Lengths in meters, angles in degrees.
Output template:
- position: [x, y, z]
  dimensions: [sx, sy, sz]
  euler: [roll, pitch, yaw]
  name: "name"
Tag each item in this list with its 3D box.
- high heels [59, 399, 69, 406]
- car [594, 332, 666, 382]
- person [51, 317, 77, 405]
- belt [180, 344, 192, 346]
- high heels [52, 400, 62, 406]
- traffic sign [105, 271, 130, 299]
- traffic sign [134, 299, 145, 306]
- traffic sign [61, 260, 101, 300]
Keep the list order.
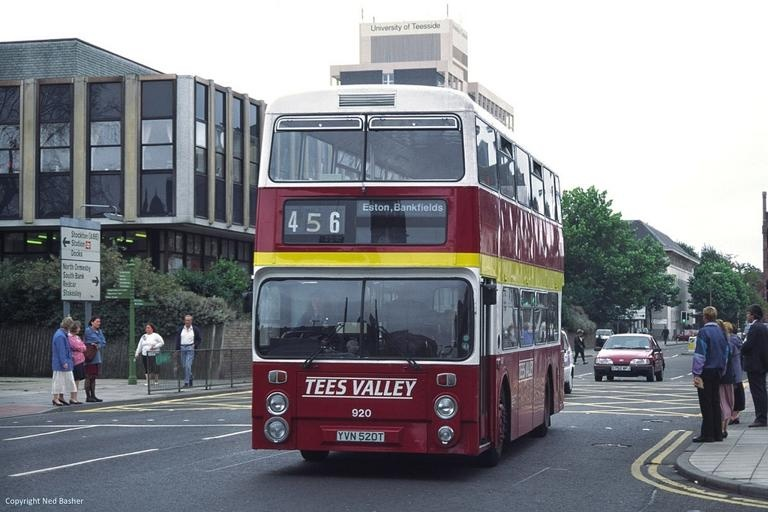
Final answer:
- position: [-9.015, 4.159, 24.694]
  dimensions: [0.118, 0.181, 0.417]
  euler: [1, 0, 16]
  name: "high heels"
- position: [10.653, 4.376, 37.613]
  dimensions: [2.175, 2.134, 3.706]
  euler: [-8, -10, 42]
  name: "car"
- position: [-9.004, 2.986, 24.548]
  dimensions: [0.570, 2.437, 1.089]
  euler: [1, -7, -19]
  name: "person"
- position: [-7.047, 3.225, 31.145]
  dimensions: [0.369, 0.115, 0.157]
  euler: [1, -8, -15]
  name: "belt"
- position: [-9.175, 4.154, 24.514]
  dimensions: [0.358, 0.166, 0.128]
  euler: [-1, -4, 9]
  name: "high heels"
- position: [-10.362, 1.129, 34.137]
  dimensions: [0.684, 1.036, 2.900]
  euler: [2, -9, -22]
  name: "traffic sign"
- position: [-9.642, 1.863, 34.344]
  dimensions: [0.358, 0.187, 0.378]
  euler: [1, -1, 11]
  name: "traffic sign"
- position: [-10.134, 0.826, 29.032]
  dimensions: [0.161, 1.114, 1.234]
  euler: [-3, -6, 38]
  name: "traffic sign"
